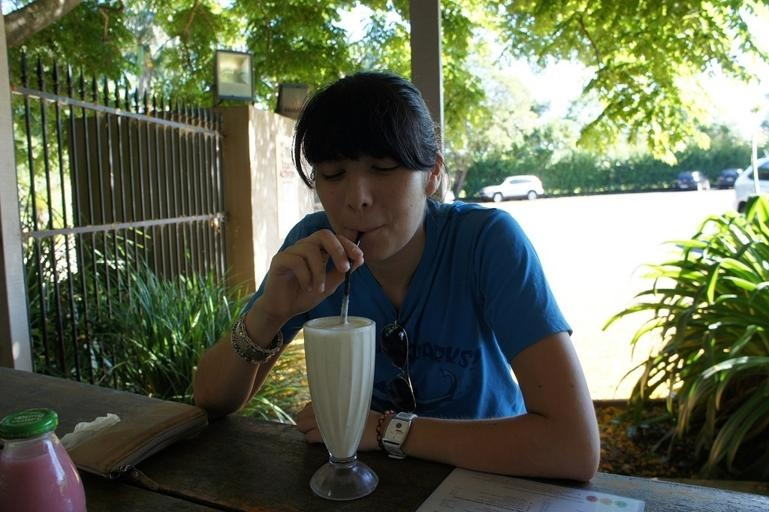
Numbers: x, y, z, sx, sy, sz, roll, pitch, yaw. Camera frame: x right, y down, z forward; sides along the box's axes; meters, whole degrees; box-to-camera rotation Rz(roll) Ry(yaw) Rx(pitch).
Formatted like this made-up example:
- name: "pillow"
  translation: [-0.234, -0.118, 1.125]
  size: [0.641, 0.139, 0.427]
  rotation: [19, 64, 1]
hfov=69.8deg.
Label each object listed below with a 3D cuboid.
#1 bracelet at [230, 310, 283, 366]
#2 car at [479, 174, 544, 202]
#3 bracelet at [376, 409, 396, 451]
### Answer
- name: "bracelet"
  translation: [-0.577, 0.382, 2.454]
  size: [0.203, 0.097, 0.231]
  rotation: [27, 33, -20]
- name: "car"
  translation: [3.815, -1.961, 16.706]
  size: [2.019, 0.875, 0.948]
  rotation: [4, 12, 20]
- name: "bracelet"
  translation: [-0.005, 0.683, 2.207]
  size: [0.029, 0.112, 0.117]
  rotation: [11, -1, 24]
